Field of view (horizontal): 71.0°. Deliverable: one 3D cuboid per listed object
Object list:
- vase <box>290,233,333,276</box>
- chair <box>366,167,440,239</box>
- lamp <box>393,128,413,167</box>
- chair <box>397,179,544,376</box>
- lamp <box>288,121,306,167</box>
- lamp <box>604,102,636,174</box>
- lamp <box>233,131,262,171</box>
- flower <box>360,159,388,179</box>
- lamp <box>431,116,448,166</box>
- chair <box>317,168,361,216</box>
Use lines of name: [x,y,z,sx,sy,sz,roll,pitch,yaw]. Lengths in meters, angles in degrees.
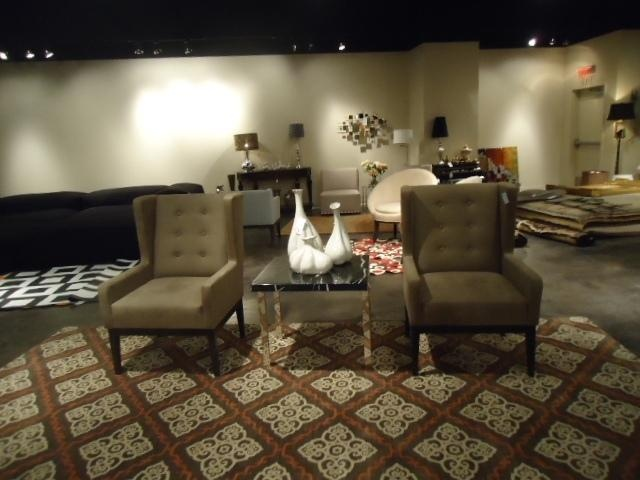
vase: [-0.077,0.098,3.428,0.352,0.329,0.332,1,2,-35]
chair: [0.976,-0.450,5.986,0.753,0.776,0.714,9,21,14]
lamp: [1.585,-1.787,8.738,0.386,0.645,0.361,3,3,14]
chair: [1.072,0.195,3.328,1.144,1.120,1.124,-9,12,-21]
lamp: [-0.457,-1.943,9.259,0.348,0.900,0.472,-5,14,-3]
lamp: [5.388,-1.821,8.094,0.395,1.342,0.851,5,17,33]
lamp: [-1.461,-1.780,9.146,0.476,0.738,0.498,-6,14,-7]
flower: [0.916,-1.191,7.535,0.531,0.374,0.530,-2,11,8]
lamp: [2.294,-1.910,8.563,0.327,0.868,0.383,0,14,14]
chair: [0.412,-0.957,8.782,0.905,0.960,0.937,0,13,2]
